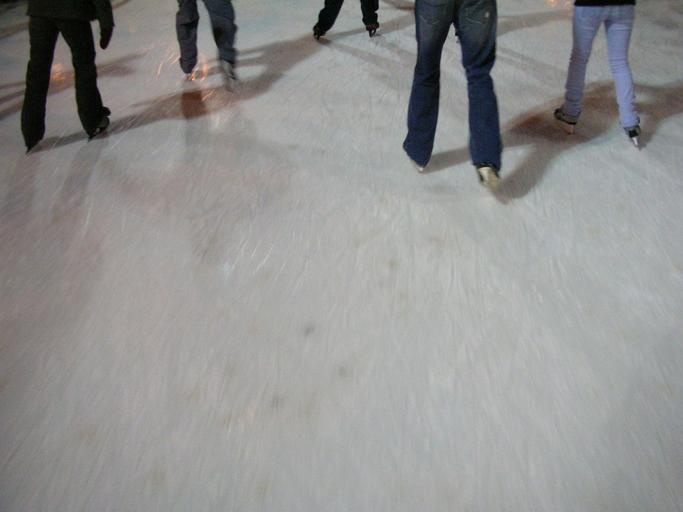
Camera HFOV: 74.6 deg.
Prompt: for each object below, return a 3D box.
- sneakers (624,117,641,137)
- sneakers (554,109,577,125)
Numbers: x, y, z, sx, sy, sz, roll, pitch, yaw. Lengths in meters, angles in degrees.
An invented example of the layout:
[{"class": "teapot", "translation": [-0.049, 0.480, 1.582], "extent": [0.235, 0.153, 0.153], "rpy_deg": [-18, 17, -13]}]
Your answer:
[{"class": "sneakers", "translation": [1.962, -0.855, 3.051], "extent": [0.107, 0.120, 0.138], "rpy_deg": [-12, 22, 29]}, {"class": "sneakers", "translation": [1.573, -0.984, 3.201], "extent": [0.080, 0.087, 0.214], "rpy_deg": [-10, 36, 2]}]
